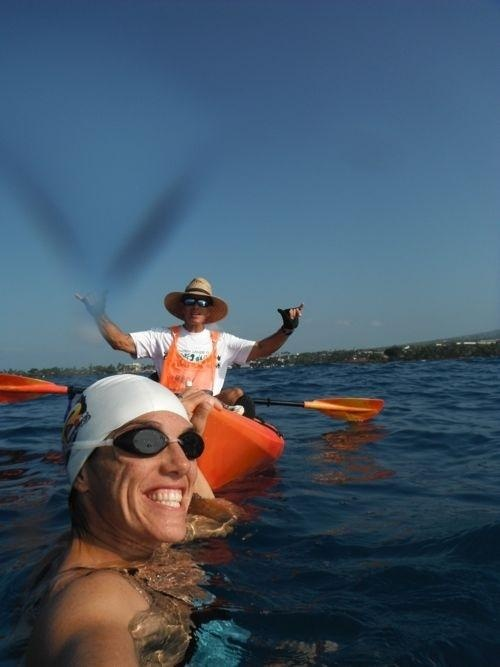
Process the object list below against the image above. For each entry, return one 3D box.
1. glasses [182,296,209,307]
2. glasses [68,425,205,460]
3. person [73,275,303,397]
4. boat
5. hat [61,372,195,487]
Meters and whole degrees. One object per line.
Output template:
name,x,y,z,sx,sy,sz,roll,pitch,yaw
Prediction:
glasses,-0.487,-0.289,5.916,0.245,0.108,0.202,1,-3,-10
glasses,-0.414,0.426,2.416,0.507,0.152,0.199,1,-2,-12
person,-0.538,0.146,5.830,2.074,1.179,1.057,5,-5,-23
boat,-0.051,1.088,5.965,0.797,0.626,1.985,10,-8,17
hat,-0.545,0.386,2.629,0.474,0.332,0.498,5,0,-27
